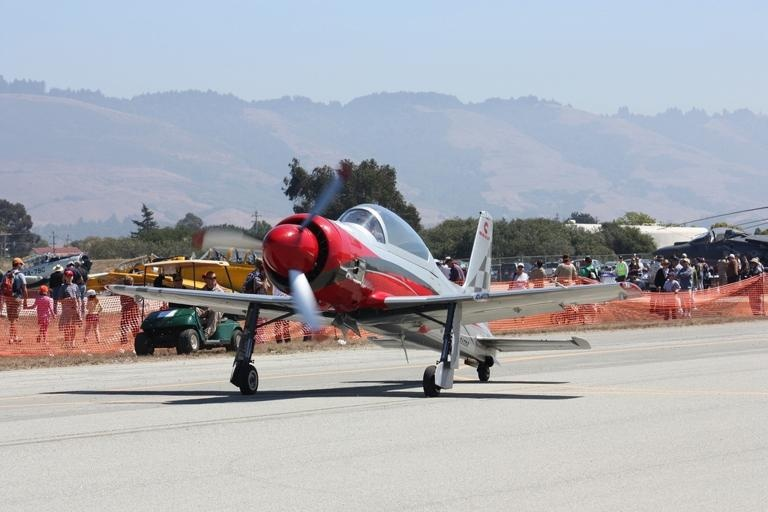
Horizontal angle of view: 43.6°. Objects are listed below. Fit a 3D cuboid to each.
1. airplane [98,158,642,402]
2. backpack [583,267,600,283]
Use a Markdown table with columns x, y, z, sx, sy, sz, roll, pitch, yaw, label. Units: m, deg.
| x | y | z | sx | sy | sz | roll | pitch | yaw | label |
| --- | --- | --- | --- | --- | --- | --- | --- | --- | --- |
| 0.005 | 0.416 | 15.970 | 6.091 | 3.746 | 3.857 | 1 | 0 | -18 | airplane |
| 6.290 | 0.517 | 29.089 | 0.611 | 0.500 | 0.306 | 0 | -15 | -5 | backpack |
